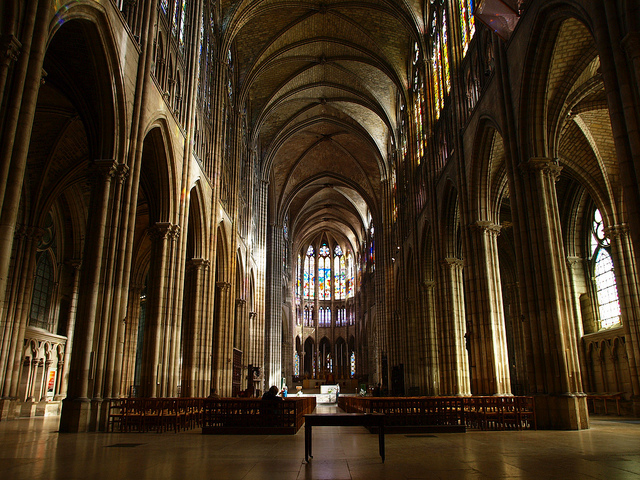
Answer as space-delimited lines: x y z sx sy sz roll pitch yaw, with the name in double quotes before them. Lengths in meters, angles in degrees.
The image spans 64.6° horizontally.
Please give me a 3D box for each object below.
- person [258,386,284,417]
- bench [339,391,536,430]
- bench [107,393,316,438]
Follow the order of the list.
"person" -1.455 4.859 15.073 0.646 0.899 0.935 4 -22 -14
"bench" 4.095 5.615 16.385 5.238 1.298 2.876 -1 -23 -2
"bench" -3.436 5.419 15.479 5.576 1.291 2.148 -4 -22 6
